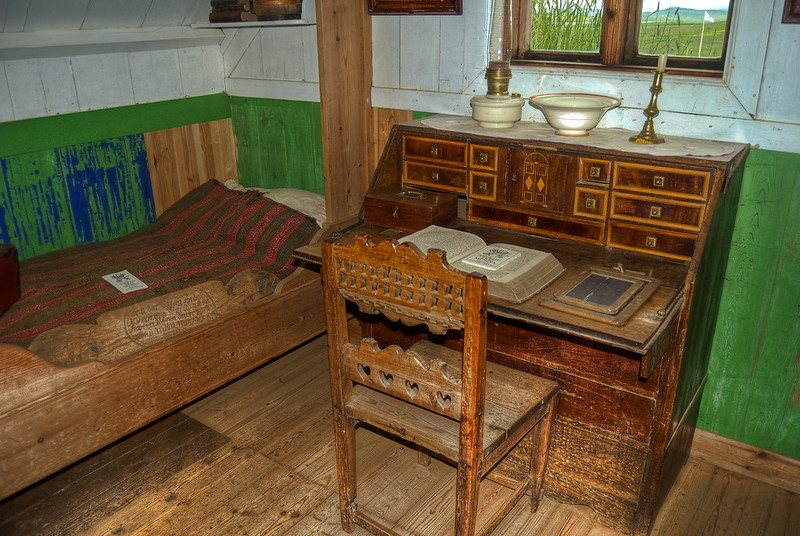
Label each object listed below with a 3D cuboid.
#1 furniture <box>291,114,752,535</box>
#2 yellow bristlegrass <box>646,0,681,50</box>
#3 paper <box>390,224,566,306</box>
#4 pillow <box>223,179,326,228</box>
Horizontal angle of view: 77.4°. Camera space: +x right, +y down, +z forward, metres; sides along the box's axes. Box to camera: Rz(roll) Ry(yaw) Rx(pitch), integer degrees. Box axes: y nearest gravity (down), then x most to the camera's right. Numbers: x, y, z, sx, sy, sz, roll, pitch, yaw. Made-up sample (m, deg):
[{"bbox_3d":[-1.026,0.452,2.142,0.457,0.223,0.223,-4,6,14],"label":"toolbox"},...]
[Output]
[{"bbox_3d":[0.642,0.430,3.491,2.706,2.633,2.008,14,32,27],"label":"furniture"},{"bbox_3d":[1.421,-1.307,2.703,0.184,0.250,0.050,11,27,22],"label":"yellow bristlegrass"},{"bbox_3d":[0.381,-0.040,2.373,0.560,0.080,0.387,17,31,35],"label":"paper"},{"bbox_3d":[-0.783,-0.516,3.761,0.575,0.141,0.423,28,37,25],"label":"pillow"}]
